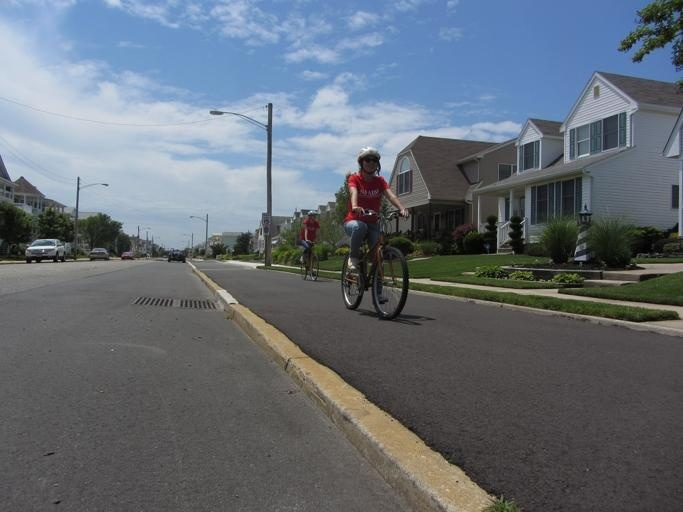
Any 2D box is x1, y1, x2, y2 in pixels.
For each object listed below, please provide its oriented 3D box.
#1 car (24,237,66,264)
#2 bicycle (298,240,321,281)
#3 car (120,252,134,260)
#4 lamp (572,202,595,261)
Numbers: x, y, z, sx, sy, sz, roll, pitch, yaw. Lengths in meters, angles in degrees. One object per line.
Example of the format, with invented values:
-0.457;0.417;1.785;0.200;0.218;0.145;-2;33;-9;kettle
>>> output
-21.827;-0.532;39.106;1.728;1.631;3.490;-1;-8;-13;car
-0.971;-0.060;17.350;0.878;1.394;2.139;5;12;-5;bicycle
-32.991;-0.002;80.882;1.298;1.135;2.301;1;-8;-25;car
6.856;-0.627;14.884;0.422;1.610;1.391;2;6;25;lamp
